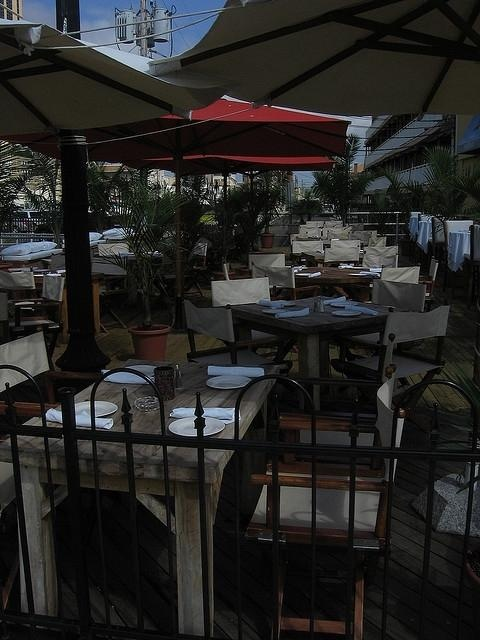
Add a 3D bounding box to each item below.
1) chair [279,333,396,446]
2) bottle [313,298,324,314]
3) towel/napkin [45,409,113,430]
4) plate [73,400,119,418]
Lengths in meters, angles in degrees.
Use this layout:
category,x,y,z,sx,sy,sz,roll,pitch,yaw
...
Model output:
category,x,y,z,sx,sy,sz,roll,pitch,yaw
chair,0.516,0.348,2.695,0.530,0.890,0.516,2,3,4
bottle,0.601,-0.119,3.880,0.089,0.114,0.041,0,-9,7
towel/napkin,-0.530,0.320,1.624,0.188,0.033,0.107,5,7,7
plate,-0.522,0.315,1.791,0.137,0.019,0.136,4,14,-4
